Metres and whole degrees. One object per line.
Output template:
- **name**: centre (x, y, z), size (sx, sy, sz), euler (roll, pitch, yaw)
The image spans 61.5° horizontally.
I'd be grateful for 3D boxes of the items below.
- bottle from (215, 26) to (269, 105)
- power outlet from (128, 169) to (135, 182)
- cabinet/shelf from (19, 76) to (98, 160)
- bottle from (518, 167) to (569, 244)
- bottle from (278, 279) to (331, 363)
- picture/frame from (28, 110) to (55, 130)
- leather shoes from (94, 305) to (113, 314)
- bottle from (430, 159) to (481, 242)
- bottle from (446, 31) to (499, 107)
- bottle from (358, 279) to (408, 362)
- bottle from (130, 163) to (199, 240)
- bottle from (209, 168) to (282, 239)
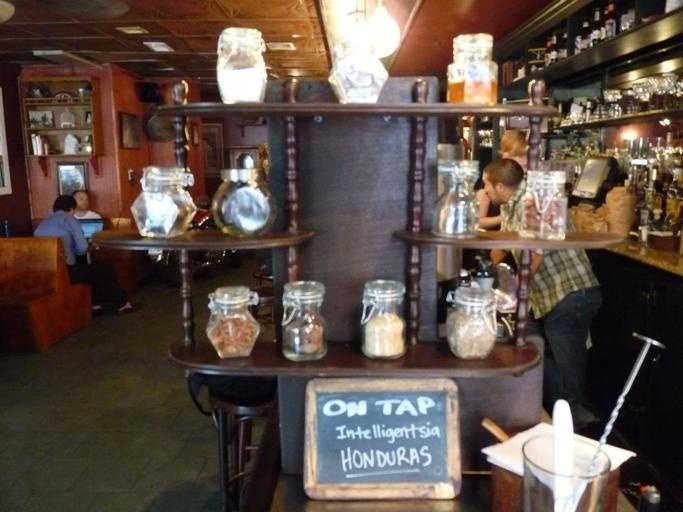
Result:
- **bottle**: centre (-0.365, -0.686, 2.067), size (0.172, 0.264, 0.129), euler (-5, 14, -7)
- **power outlet**: centre (-2.800, -1.069, 7.599), size (0.038, 0.134, 0.153), euler (5, 3, 33)
- **cabinet/shelf**: centre (-3.481, -1.726, 7.011), size (1.108, 1.188, 0.359), euler (-1, 4, -7)
- **bottle**: centre (0.758, -0.196, 2.153), size (0.168, 0.246, 0.228), euler (2, 14, 20)
- **bottle**: centre (-0.155, 0.249, 2.221), size (0.168, 0.306, 0.141), euler (-7, 14, -16)
- **picture/frame**: centre (-3.679, -1.656, 6.973), size (0.265, 0.209, 0.035), euler (1, 11, -3)
- **leather shoes**: centre (-2.742, 0.623, 6.546), size (0.108, 0.069, 0.145), euler (-1, 4, -13)
- **bottle**: centre (0.428, -0.220, 2.173), size (0.163, 0.277, 0.200), euler (0, 14, 13)
- **bottle**: centre (0.477, -0.679, 2.094), size (0.158, 0.240, 0.060), euler (-2, 14, 3)
- **bottle**: centre (0.159, 0.246, 2.226), size (0.177, 0.296, 0.113), euler (-3, 14, 0)
- **bottle**: centre (-0.611, -0.201, 2.095), size (0.275, 0.301, 0.262), euler (1, 7, 3)
- **bottle**: centre (-0.347, -0.199, 2.094), size (0.256, 0.248, 0.227), euler (0, 15, -2)
